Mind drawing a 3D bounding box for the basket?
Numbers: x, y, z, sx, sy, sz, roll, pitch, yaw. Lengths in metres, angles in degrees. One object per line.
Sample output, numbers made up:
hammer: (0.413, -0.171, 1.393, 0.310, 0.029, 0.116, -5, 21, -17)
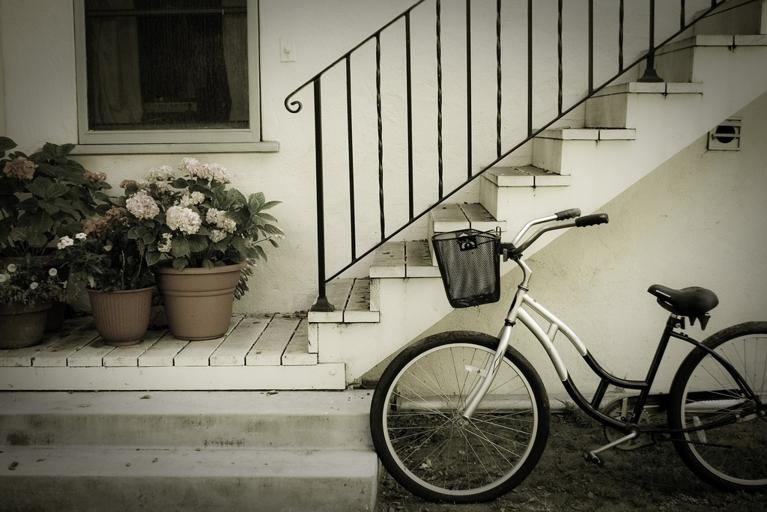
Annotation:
basket: (0.527, 0.048, 4.126, 0.404, 0.479, 0.399, -10, 1, 12)
